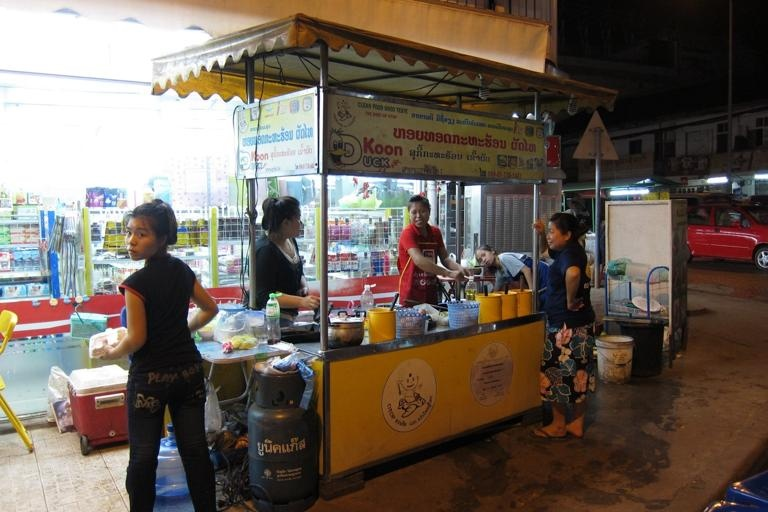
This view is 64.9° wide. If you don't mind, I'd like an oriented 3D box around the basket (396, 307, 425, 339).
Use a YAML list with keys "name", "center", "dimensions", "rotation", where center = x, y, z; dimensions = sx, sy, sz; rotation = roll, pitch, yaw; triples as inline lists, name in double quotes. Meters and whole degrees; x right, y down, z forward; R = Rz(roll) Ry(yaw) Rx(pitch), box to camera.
- name: "basket"
  center: [0.267, 0.671, 6.154]
  dimensions: [0.267, 0.171, 0.276]
  rotation: [-2, 1, -10]

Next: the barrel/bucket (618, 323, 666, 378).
- name: "barrel/bucket"
  center: [3.681, 1.275, 8.626]
  dimensions: [0.670, 0.711, 0.651]
  rotation: [-1, 1, 0]

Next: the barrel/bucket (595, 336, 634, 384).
- name: "barrel/bucket"
  center: [3.128, 1.386, 8.285]
  dimensions: [0.562, 0.628, 0.558]
  rotation: [-1, 1, 0]

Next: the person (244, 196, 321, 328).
- name: "person"
  center: [-1.023, 0.040, 6.396]
  dimensions: [0.625, 1.315, 0.855]
  rotation: [-6, 12, -29]

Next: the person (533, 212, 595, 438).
- name: "person"
  center: [2.042, 0.766, 6.678]
  dimensions: [0.576, 2.452, 0.486]
  rotation: [3, 11, 19]

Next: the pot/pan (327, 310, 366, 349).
- name: "pot/pan"
  center: [-0.372, 0.701, 5.840]
  dimensions: [0.302, 0.212, 0.260]
  rotation: [-1, 3, -6]

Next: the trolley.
- name: "trolley"
  center: [-3.247, 1.678, 6.918]
  dimensions: [0.714, 0.811, 1.009]
  rotation: [-3, 9, -32]

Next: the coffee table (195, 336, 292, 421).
- name: "coffee table"
  center: [-1.556, 1.329, 6.171]
  dimensions: [0.899, 0.878, 0.918]
  rotation: [1, 0, 45]

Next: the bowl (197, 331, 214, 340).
- name: "bowl"
  center: [-1.813, 0.804, 6.110]
  dimensions: [0.104, 0.068, 0.106]
  rotation: [1, -4, 0]

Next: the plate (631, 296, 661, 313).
- name: "plate"
  center: [3.729, 0.683, 8.531]
  dimensions: [0.253, 0.061, 0.257]
  rotation: [-1, 21, -23]

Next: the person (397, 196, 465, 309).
- name: "person"
  center: [0.566, -0.056, 7.534]
  dimensions: [0.796, 1.370, 0.739]
  rotation: [3, 11, 19]

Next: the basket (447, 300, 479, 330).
- name: "basket"
  center: [0.848, 0.629, 6.510]
  dimensions: [0.282, 0.226, 0.276]
  rotation: [-2, 0, 43]
